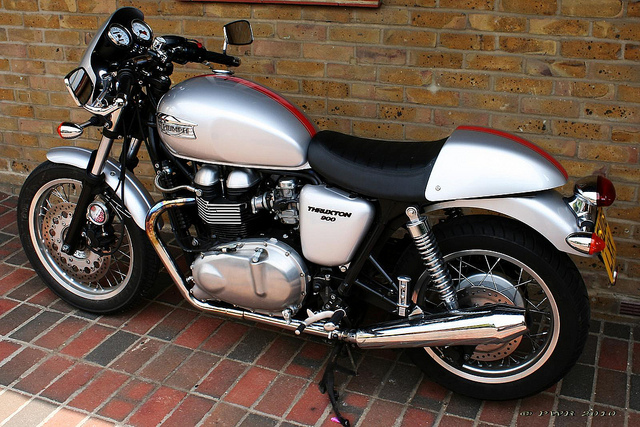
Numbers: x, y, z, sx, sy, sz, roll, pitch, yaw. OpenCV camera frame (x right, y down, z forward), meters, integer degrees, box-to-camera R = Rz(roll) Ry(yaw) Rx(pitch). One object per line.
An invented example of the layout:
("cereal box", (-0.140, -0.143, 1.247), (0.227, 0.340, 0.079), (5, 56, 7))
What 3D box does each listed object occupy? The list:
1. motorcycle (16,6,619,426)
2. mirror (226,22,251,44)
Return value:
("motorcycle", (-0.078, -0.038, 3.568), (3.549, 2.027, 0.936), (14, 26, 18))
("mirror", (-0.486, -1.066, 3.429), (0.126, 0.111, 0.018), (-4, 20, -16))
